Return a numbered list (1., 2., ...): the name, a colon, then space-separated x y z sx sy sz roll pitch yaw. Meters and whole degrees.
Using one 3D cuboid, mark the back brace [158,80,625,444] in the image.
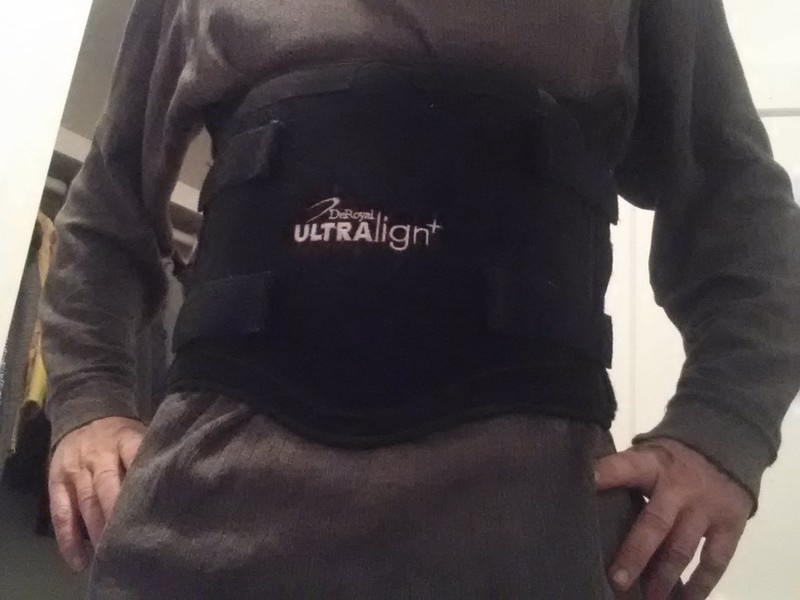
1. back brace: 0.027 -0.041 1.261 0.638 0.390 0.551 3 76 10
